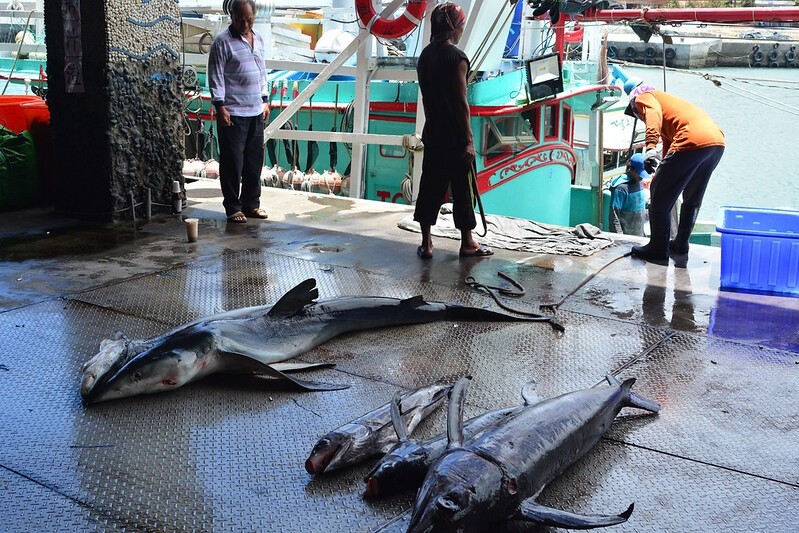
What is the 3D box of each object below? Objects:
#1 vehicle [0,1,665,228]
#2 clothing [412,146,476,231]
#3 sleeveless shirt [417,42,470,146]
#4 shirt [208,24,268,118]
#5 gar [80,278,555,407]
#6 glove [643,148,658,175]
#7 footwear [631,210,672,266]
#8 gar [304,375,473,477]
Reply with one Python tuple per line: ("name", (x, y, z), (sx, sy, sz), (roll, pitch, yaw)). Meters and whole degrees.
("vehicle", (-0.838, -2.446, 9.340), (9.259, 3.033, 5.879), (7, 15, 21))
("clothing", (0.693, -0.825, 6.275), (0.391, 0.797, 0.218), (16, -7, -34))
("sleeveless shirt", (0.471, -1.777, 5.998), (0.631, 1.121, 0.187), (12, 19, 38))
("shirt", (-2.011, -2.413, 7.047), (0.224, 1.059, 0.819), (14, 19, 39))
("gar", (-0.974, 0.498, 4.119), (1.118, 0.305, 1.604), (6, 11, 33))
("glove", (2.852, -1.174, 6.399), (0.096, 0.249, 0.194), (17, 21, 40))
("footwear", (2.904, -0.354, 6.501), (0.219, 0.576, 0.468), (-27, 31, -27))
("gar", (-0.074, 0.961, 3.340), (0.266, 0.317, 0.909), (20, 29, 41))
